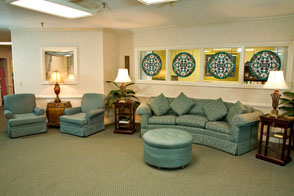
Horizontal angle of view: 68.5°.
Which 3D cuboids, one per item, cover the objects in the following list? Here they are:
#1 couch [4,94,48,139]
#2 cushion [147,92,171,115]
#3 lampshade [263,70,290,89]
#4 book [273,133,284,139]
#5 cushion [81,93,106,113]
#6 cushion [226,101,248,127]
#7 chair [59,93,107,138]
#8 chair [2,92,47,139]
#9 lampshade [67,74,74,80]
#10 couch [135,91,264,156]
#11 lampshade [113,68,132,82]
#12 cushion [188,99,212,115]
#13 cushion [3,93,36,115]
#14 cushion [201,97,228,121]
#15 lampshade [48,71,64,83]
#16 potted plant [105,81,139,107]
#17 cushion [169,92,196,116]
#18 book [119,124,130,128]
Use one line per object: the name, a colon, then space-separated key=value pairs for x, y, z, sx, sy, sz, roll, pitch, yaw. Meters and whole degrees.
couch: x=-3.504 y=0.471 z=6.711 sx=1.325 sy=1.370 sz=1.270 roll=-3 pitch=0 yaw=-36
cushion: x=0.334 y=0.209 z=6.307 sx=0.545 sy=0.505 sz=0.163 roll=-36 pitch=-3 yaw=-30
lampshade: x=2.918 y=-0.410 z=4.859 sx=0.435 sy=0.256 sz=0.424 roll=1 pitch=8 yaw=19
book: x=2.945 y=0.814 z=4.842 sx=0.212 sy=0.120 sz=0.218 roll=4 pitch=11 yaw=31
cushion: x=-1.639 y=0.157 z=6.955 sx=0.659 sy=0.747 sz=0.653 roll=1 pitch=-2 yaw=17
cushion: x=2.219 y=0.378 z=5.385 sx=0.400 sy=0.515 sz=0.496 roll=-2 pitch=10 yaw=1
chair: x=-1.918 y=0.468 z=6.525 sx=1.006 sy=1.080 sz=1.071 roll=6 pitch=11 yaw=24
chair: x=-3.517 y=0.426 z=6.716 sx=1.352 sy=1.403 sz=1.303 roll=-4 pitch=3 yaw=-37
lampshade: x=-2.505 y=-0.684 z=7.083 sx=0.208 sy=0.187 sz=0.051 roll=1 pitch=11 yaw=17
couch: x=1.354 y=0.600 z=6.042 sx=3.198 sy=1.183 sz=1.106 roll=5 pitch=11 yaw=32
lampshade: x=-0.742 y=-0.674 z=6.454 sx=0.435 sy=0.257 sz=0.417 roll=-1 pitch=8 yaw=-5
cushion: x=1.439 y=0.249 z=6.153 sx=0.581 sy=0.413 sz=0.165 roll=-2 pitch=-14 yaw=27
cushion: x=-4.010 y=0.202 z=6.744 sx=0.719 sy=0.771 sz=0.670 roll=1 pitch=-4 yaw=-39
cushion: x=1.797 y=0.318 z=5.683 sx=0.595 sy=0.573 sz=0.182 roll=-32 pitch=-32 yaw=11
lampshade: x=-2.833 y=-0.651 z=6.691 sx=0.397 sy=0.256 sz=0.353 roll=-4 pitch=11 yaw=-26
potted plant: x=-0.824 y=-0.174 z=7.110 sx=1.150 sy=0.785 sz=1.135 roll=-1 pitch=5 yaw=-17
cushion: x=0.983 y=0.180 z=6.145 sx=0.578 sy=0.570 sz=0.176 roll=-41 pitch=-27 yaw=0
book: x=-0.699 y=0.870 z=6.709 sx=0.325 sy=0.064 sz=0.242 roll=-2 pitch=9 yaw=0
